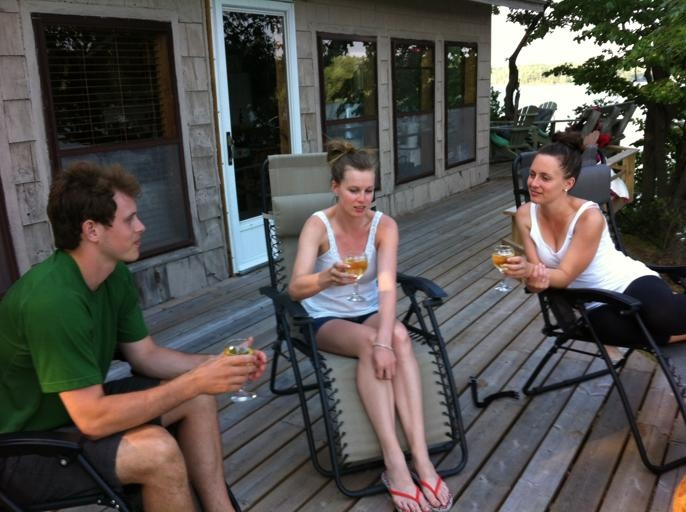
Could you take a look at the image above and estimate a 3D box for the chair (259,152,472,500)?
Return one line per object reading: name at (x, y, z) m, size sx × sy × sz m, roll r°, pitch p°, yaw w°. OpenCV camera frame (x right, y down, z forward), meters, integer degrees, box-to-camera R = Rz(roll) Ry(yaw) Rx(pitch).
chair at (0.000, 0.264, 2.519) m, size 0.948 × 1.498 × 1.798 m, roll -7°, pitch 18°, yaw -19°
